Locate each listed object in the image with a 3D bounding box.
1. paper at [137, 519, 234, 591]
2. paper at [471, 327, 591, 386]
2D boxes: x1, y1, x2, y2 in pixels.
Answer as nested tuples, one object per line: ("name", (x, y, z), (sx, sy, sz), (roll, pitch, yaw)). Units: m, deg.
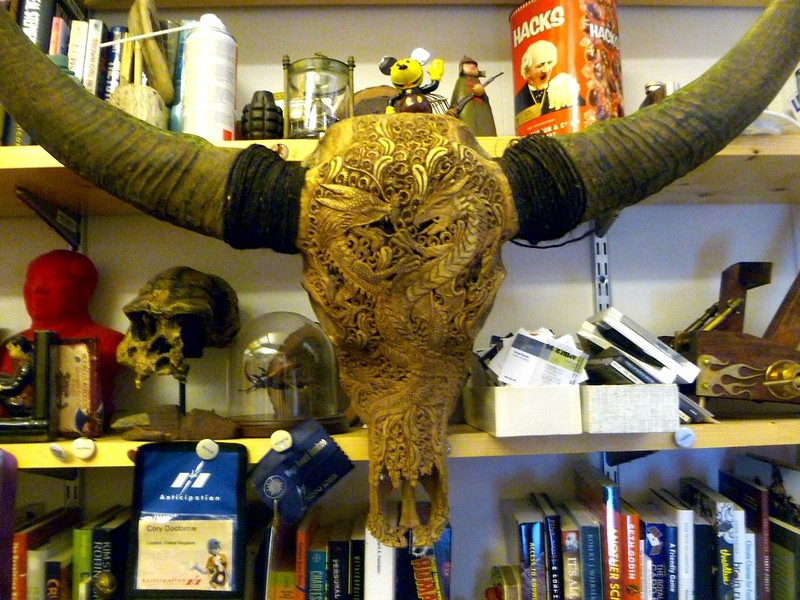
("paper", (-0.453, 0.541, 1.659), (0.146, 0.108, 0.016), (0, -8, 0))
("paper", (0.275, 0.128, 1.694), (0.225, 0.081, 0.261), (8, 24, 8))
